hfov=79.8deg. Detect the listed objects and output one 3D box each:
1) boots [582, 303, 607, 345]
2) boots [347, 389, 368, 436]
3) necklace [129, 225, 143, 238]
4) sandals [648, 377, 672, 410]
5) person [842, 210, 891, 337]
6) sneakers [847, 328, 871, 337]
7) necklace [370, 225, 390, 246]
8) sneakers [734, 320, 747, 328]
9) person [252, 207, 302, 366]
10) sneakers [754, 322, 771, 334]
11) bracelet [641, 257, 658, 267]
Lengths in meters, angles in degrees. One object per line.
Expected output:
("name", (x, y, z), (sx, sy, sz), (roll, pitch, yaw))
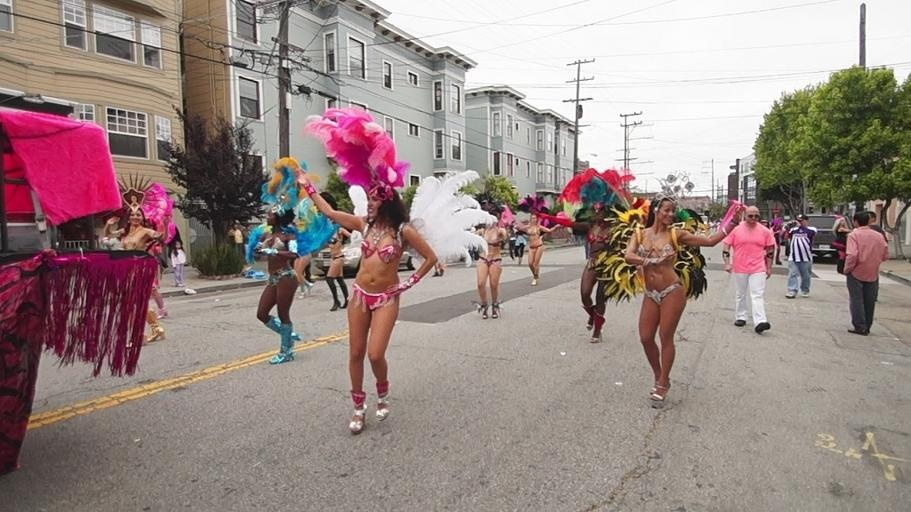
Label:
("boots", (2.943, 1.361, 10.946), (0.376, 0.825, 0.754), (-5, -1, 28))
("boots", (-1.420, 2.241, 7.879), (0.185, 0.475, 0.582), (2, 2, 1))
("necklace", (-6.565, -0.445, 11.125), (0.164, 0.219, 0.127), (4, -21, 15))
("sandals", (3.135, 2.125, 8.348), (0.199, 0.162, 0.570), (-10, 15, 31))
("person", (8.385, 0.393, 11.121), (0.698, 2.467, 0.748), (4, 12, 38))
("sneakers", (8.344, 1.597, 11.241), (0.153, 0.167, 0.409), (-2, 1, -27))
("necklace", (-1.111, -0.252, 7.878), (0.272, 0.270, 0.076), (-1, -11, 25))
("sneakers", (6.174, 1.495, 11.750), (0.125, 0.137, 0.328), (-3, -6, 23))
("person", (-3.234, 0.556, 9.856), (0.790, 2.645, 0.826), (-6, 10, -20))
("sneakers", (6.392, 1.493, 11.296), (0.278, 0.242, 0.320), (0, 9, 18))
("bracelet", (2.984, 0.130, 8.292), (0.220, 0.113, 0.116), (-2, 9, 4))
